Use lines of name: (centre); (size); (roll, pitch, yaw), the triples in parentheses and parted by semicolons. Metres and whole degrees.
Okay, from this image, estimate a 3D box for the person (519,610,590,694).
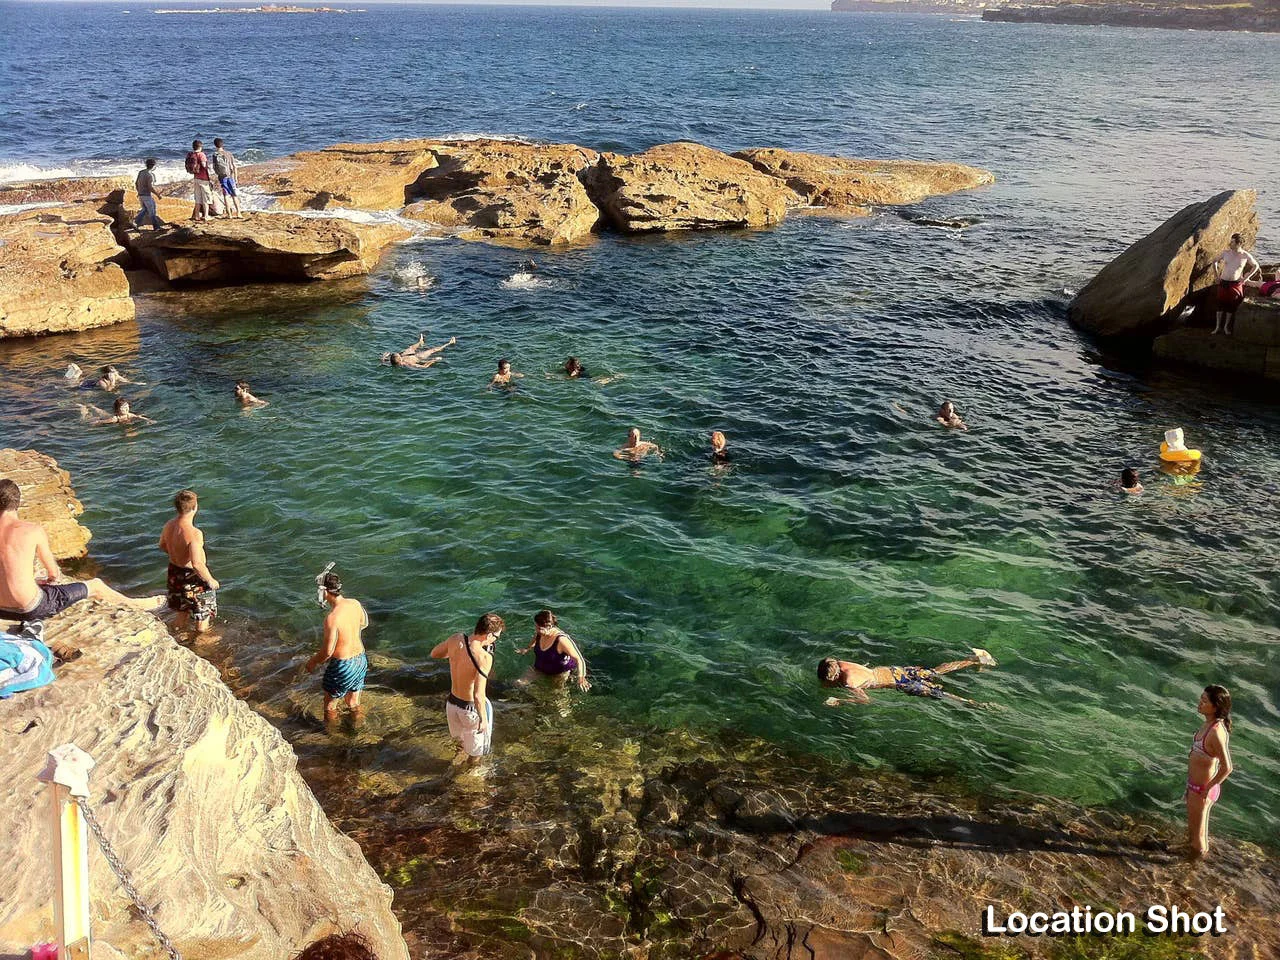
person: (-1.536, 3.078, 18.368); (1.236, 1.574, 0.594); (7, 34, 6)
